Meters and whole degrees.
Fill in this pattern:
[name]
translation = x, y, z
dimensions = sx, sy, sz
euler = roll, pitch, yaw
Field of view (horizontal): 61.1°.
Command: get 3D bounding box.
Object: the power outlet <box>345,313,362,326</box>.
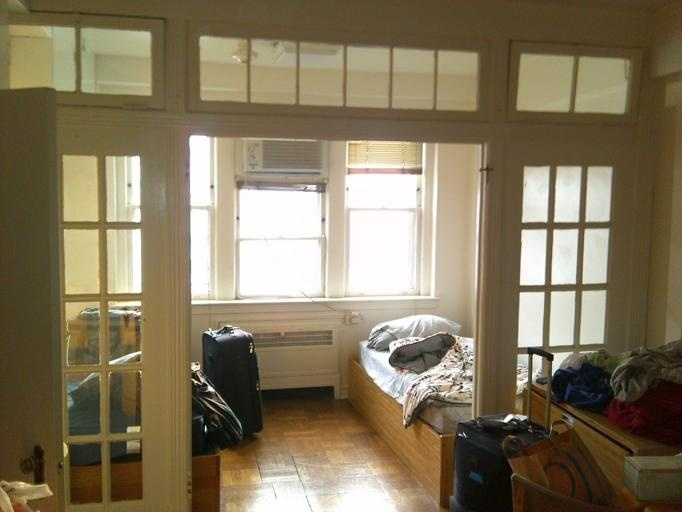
[power outlet]
translation = 0.121, 0.608, 5.593
dimensions = 0.141, 0.105, 0.047
euler = -2, -2, -12

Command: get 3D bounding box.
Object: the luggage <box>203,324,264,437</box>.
[luggage]
translation = -0.884, 1.057, 4.741
dimensions = 0.432, 0.822, 0.282
euler = -2, 9, -11

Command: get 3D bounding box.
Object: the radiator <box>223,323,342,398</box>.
[radiator]
translation = -0.576, 0.940, 5.679
dimensions = 1.145, 0.752, 0.461
euler = -1, 13, -9

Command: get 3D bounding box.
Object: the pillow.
[pillow]
translation = 0.612, 0.667, 5.196
dimensions = 0.808, 0.297, 0.555
euler = 1, 5, -9
